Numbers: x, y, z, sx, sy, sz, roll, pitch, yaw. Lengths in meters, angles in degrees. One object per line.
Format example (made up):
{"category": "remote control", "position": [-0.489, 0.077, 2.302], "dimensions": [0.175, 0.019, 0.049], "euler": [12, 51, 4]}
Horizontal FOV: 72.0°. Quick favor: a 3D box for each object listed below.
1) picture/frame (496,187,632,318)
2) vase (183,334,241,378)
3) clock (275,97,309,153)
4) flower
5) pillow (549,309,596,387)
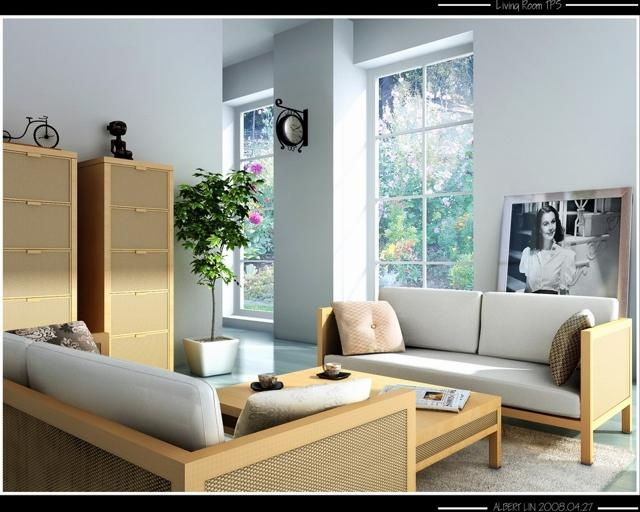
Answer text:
{"category": "picture/frame", "position": [2.287, -0.047, 4.024], "dimensions": [0.062, 1.458, 1.312], "euler": [3, -2, -45]}
{"category": "vase", "position": [-1.094, 0.974, 4.437], "dimensions": [0.464, 0.294, 0.362], "euler": [1, -2, -35]}
{"category": "clock", "position": [-0.385, -1.687, 5.845], "dimensions": [0.397, 0.571, 0.291], "euler": [-2, 1, -35]}
{"category": "flower", "position": [-1.128, -0.035, 5.069], "dimensions": [0.897, 1.998, 1.952], "euler": [-2, 1, -9]}
{"category": "pillow", "position": [1.512, 0.540, 2.641], "dimensions": [0.280, 0.414, 0.125], "euler": [-2, 1, -6]}
